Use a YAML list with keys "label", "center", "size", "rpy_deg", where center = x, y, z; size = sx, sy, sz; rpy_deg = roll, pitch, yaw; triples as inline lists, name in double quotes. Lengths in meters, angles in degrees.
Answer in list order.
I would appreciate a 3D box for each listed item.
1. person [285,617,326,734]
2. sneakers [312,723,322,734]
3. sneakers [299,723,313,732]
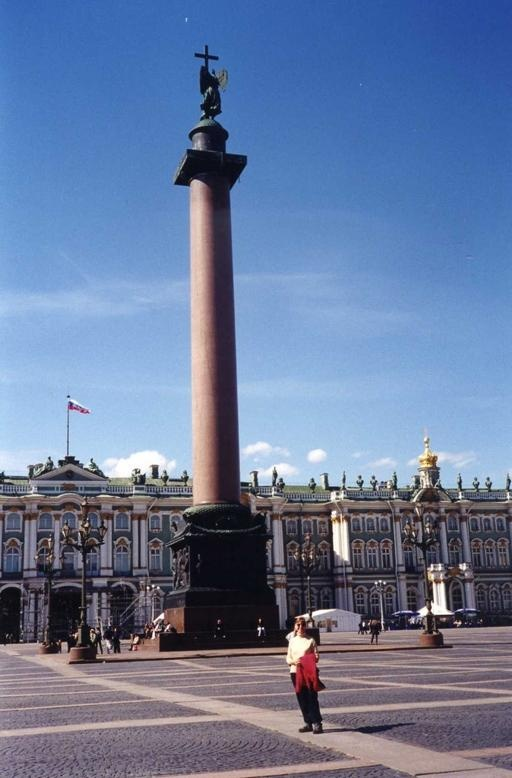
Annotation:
- label: "person"
  center: [0.503, 2.926, 8.585]
  size: [0.334, 1.101, 0.896]
  rpy_deg: [-3, -11, 2]
- label: "sneakers"
  center: [0.600, 3.293, 8.145]
  size: [0.089, 0.085, 0.170]
  rpy_deg: [-4, -11, 3]
- label: "sneakers"
  center: [0.498, 3.341, 8.256]
  size: [0.150, 0.094, 0.051]
  rpy_deg: [7, -27, -6]
